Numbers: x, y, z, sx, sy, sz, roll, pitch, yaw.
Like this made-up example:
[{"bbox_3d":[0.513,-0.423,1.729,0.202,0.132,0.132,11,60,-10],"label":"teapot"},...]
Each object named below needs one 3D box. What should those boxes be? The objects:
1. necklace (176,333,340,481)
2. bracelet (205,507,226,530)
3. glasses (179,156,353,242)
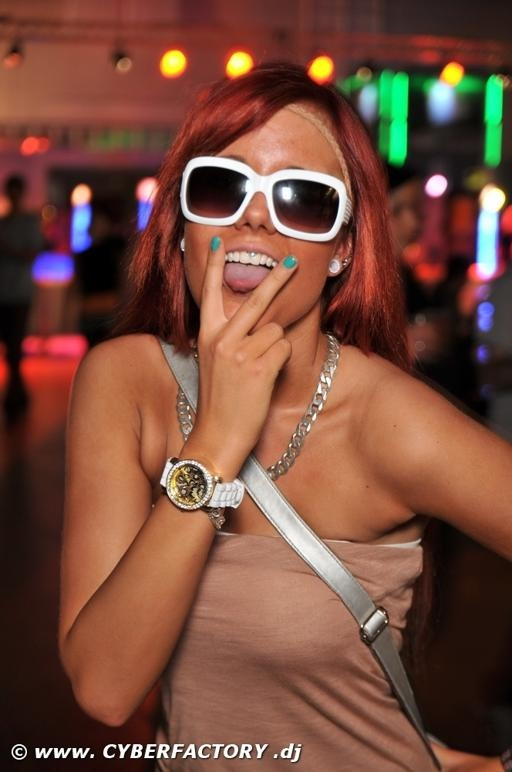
[{"bbox_3d":[0.039,0.062,1.379,0.214,0.307,0.064,32,1,19],"label":"necklace"},{"bbox_3d":[-0.061,0.211,1.162,0.017,0.041,0.041,-12,8,-2],"label":"bracelet"},{"bbox_3d":[0.007,-0.287,1.243,0.208,0.075,0.196,8,4,-5],"label":"glasses"}]
